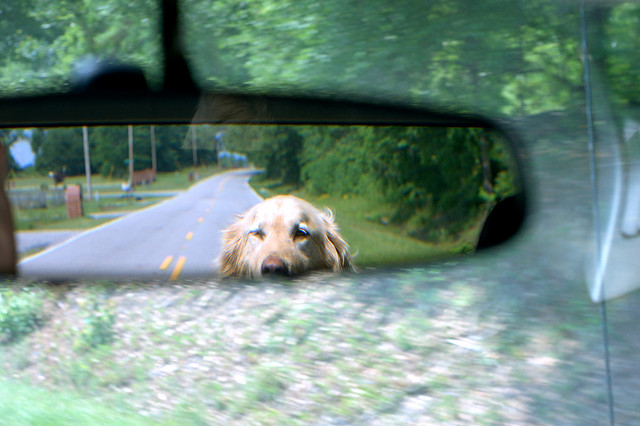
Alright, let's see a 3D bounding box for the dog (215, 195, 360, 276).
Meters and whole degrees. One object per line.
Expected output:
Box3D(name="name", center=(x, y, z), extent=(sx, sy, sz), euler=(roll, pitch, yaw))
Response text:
Box3D(name="dog", center=(-0.637, 0.586, 8.718), extent=(2.579, 1.653, 3.084), euler=(-1, -5, 2))
